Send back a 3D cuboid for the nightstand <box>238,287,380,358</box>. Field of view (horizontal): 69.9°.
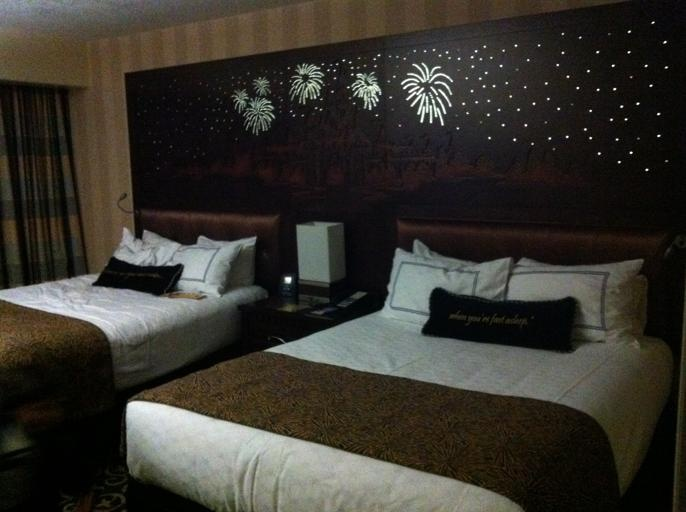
[{"bbox_3d":[-0.263,0.424,3.679,0.692,0.353,0.529,5,11,33],"label":"nightstand"}]
